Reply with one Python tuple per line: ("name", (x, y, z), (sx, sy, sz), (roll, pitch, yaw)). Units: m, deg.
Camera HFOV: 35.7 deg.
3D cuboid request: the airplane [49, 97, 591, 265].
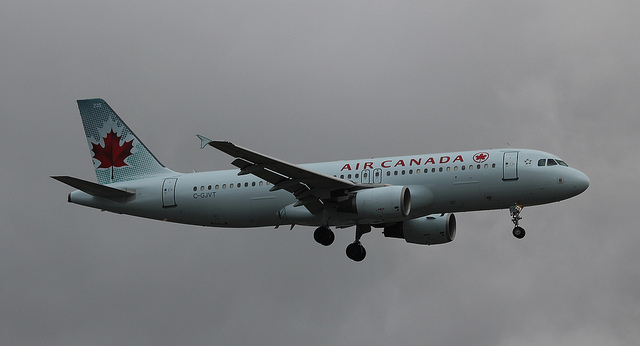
("airplane", (-0.441, -0.054, 53.316), (28.731, 25.858, 7.426), (-4, -92, 21))
